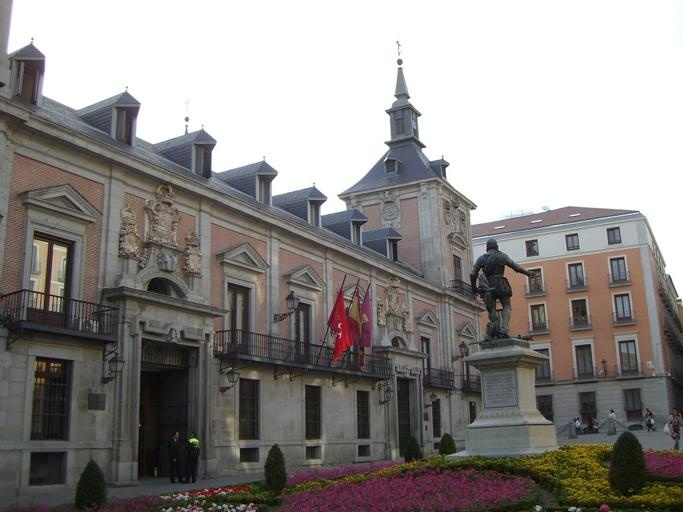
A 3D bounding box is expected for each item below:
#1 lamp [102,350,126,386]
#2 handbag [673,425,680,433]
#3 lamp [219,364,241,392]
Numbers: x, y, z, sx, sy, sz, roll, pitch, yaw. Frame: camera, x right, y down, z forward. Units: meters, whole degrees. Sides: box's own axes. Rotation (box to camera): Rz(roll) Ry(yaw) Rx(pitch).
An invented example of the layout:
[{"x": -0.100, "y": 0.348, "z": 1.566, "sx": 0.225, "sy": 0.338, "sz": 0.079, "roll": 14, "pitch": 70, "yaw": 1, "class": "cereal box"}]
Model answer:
[{"x": -7.752, "y": 3.754, "z": 25.416, "sx": 0.689, "sy": 1.123, "sz": 0.608, "roll": 4, "pitch": -20, "yaw": -17, "class": "lamp"}, {"x": 14.491, "y": 7.479, "z": 32.539, "sx": 0.299, "sy": 0.369, "sz": 0.532, "roll": -4, "pitch": -10, "yaw": 34, "class": "handbag"}, {"x": -4.320, "y": 4.872, "z": 29.650, "sx": 0.587, "sy": 1.088, "sz": 0.844, "roll": -17, "pitch": -24, "yaw": 36, "class": "lamp"}]
